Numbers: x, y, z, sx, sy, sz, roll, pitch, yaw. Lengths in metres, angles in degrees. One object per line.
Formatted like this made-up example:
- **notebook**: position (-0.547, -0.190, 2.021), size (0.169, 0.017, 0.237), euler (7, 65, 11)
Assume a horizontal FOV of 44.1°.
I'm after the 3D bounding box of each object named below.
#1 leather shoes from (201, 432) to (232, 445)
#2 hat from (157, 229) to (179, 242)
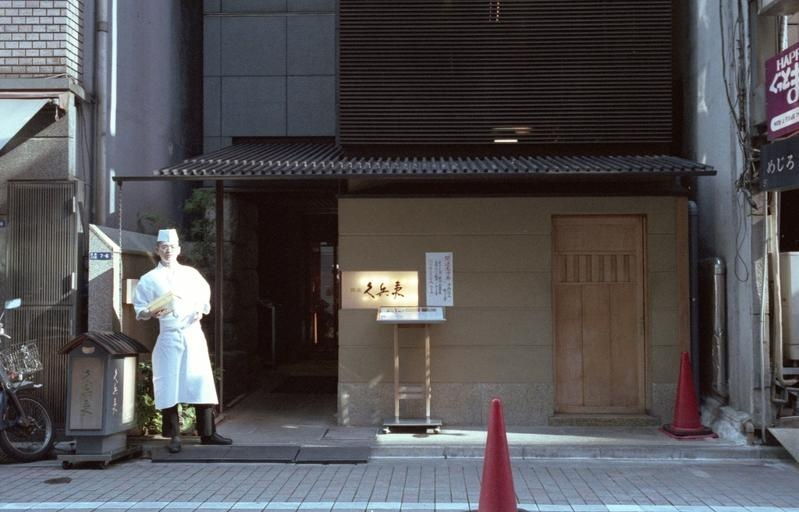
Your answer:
- **leather shoes**: position (-2.927, 2.913, 15.791), size (0.423, 0.138, 0.209), euler (1, -4, -6)
- **hat**: position (-3.789, -0.323, 15.835), size (0.310, 0.161, 0.301), euler (-2, -2, 31)
